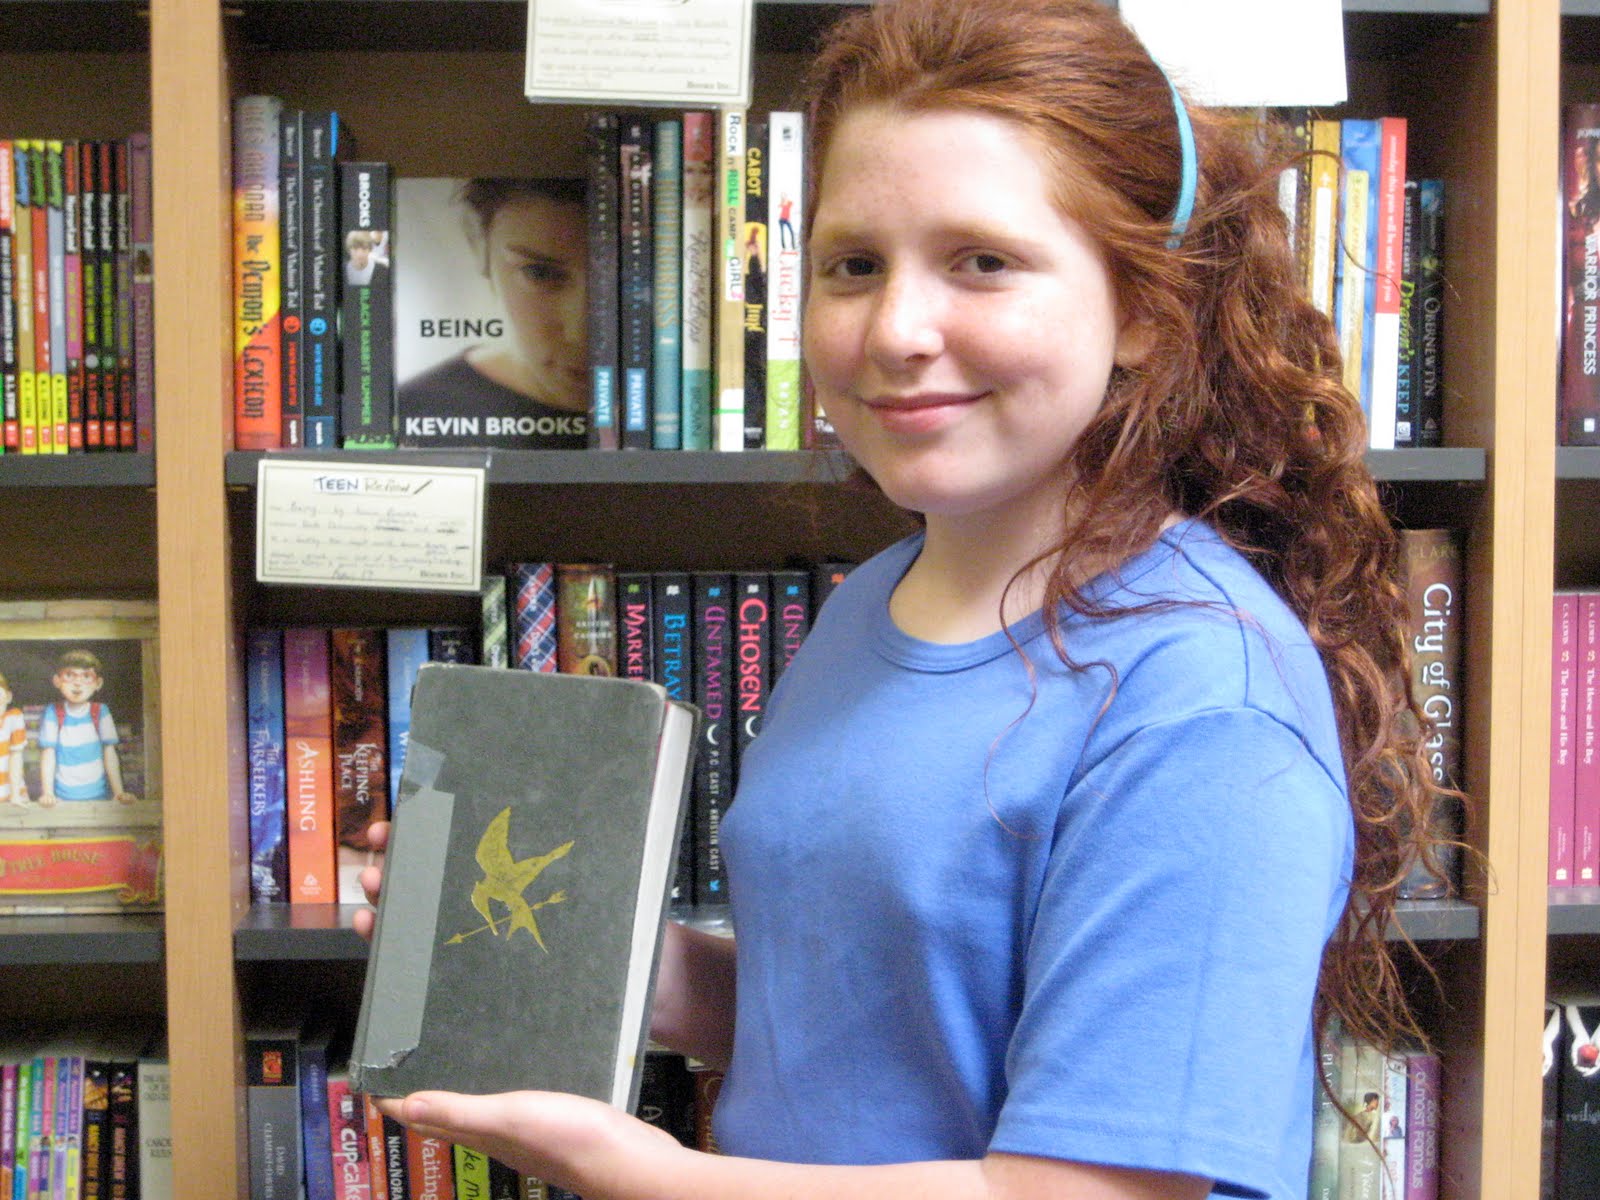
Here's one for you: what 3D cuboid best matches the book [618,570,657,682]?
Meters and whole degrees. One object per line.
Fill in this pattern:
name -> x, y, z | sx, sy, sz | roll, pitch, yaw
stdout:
book -> -0.172, 0.029, 1.982 | 0.039, 0.106, 0.110 | 0, 2, -2

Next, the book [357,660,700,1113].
book -> -0.221, 0.256, 1.625 | 0.276, 0.365, 0.124 | 11, -5, 13

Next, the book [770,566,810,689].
book -> -0.012, 0.031, 1.902 | 0.042, 0.118, 0.115 | 0, 4, 1

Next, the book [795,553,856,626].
book -> 0.024, -0.013, 1.999 | 0.059, 0.078, 0.079 | -1, 6, -7

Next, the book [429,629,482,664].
book -> -0.367, 0.051, 2.004 | 0.061, 0.054, 0.034 | -1, 8, -19
